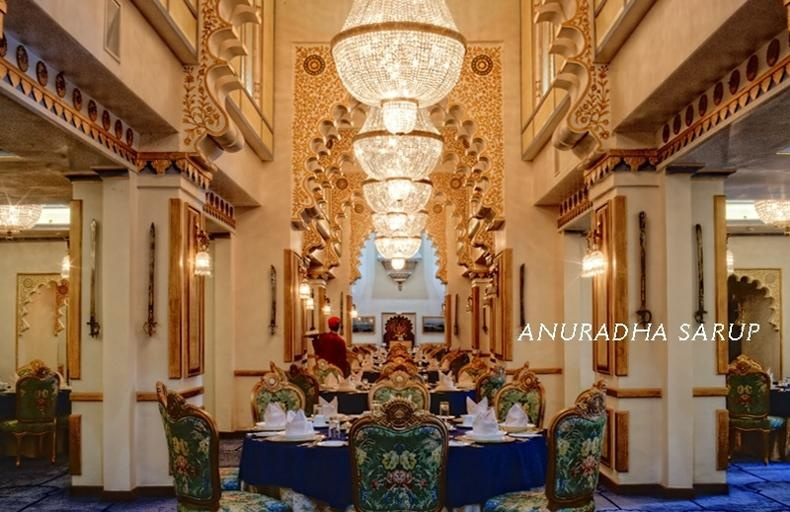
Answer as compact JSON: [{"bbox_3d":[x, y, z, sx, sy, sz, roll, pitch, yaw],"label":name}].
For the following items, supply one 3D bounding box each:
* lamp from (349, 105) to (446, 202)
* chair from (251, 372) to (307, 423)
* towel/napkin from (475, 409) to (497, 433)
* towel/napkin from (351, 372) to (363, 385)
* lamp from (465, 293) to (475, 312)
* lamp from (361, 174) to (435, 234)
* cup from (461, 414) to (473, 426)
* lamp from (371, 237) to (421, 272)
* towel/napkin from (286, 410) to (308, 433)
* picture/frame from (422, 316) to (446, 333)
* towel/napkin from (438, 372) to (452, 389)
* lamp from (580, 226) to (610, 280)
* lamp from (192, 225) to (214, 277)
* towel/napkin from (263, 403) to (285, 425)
[{"bbox_3d":[0.087,-1.835,11.083,1.530,1.725,1.743,0,-4,1],"label":"lamp"},{"bbox_3d":[-1.519,1.766,8.519,0.606,0.953,0.563,2,-10,-21],"label":"chair"},{"bbox_3d":[0.948,1.706,6.983,0.215,0.230,0.223,10,-16,-42],"label":"towel/napkin"},{"bbox_3d":[-0.639,1.998,11.015,0.213,0.250,0.270,3,-16,-3],"label":"towel/napkin"},{"bbox_3d":[2.489,1.541,22.078,0.231,0.660,0.672,3,-7,6],"label":"lamp"},{"bbox_3d":[0.027,-1.047,12.762,1.140,0.870,1.119,0,-5,2],"label":"lamp"},{"bbox_3d":[0.822,1.829,7.480,0.100,0.093,0.126,1,-19,-1],"label":"cup"},{"bbox_3d":[0.091,-0.199,17.114,1.185,0.859,1.169,0,-8,-1],"label":"lamp"},{"bbox_3d":[-1.029,1.746,7.065,0.167,0.213,0.227,0,-4,-7],"label":"towel/napkin"},{"bbox_3d":[2.037,3.547,34.630,1.317,0.912,0.091,-1,-7,2],"label":"picture/frame"},{"bbox_3d":[0.810,1.980,10.575,0.186,0.201,0.191,-5,-8,33],"label":"towel/napkin"},{"bbox_3d":[2.878,-0.090,9.637,0.266,0.739,0.638,-1,-9,6],"label":"lamp"},{"bbox_3d":[-2.758,-0.072,9.605,0.206,0.688,0.417,1,-9,-10],"label":"lamp"},{"bbox_3d":[-1.325,1.719,7.317,0.197,0.232,0.227,0,0,8],"label":"towel/napkin"}]
